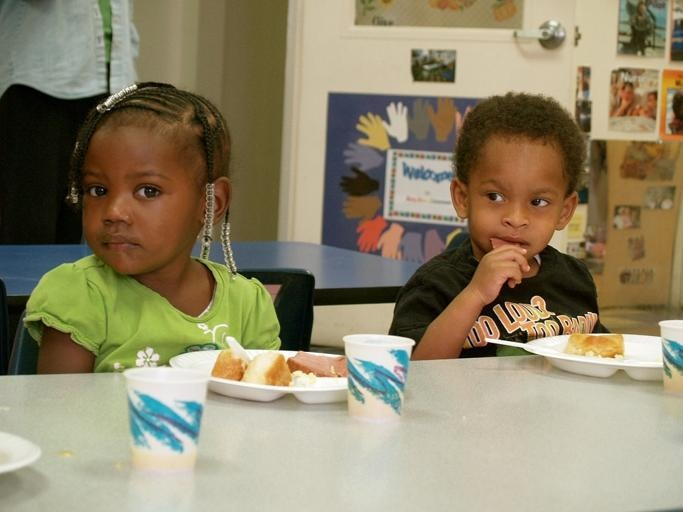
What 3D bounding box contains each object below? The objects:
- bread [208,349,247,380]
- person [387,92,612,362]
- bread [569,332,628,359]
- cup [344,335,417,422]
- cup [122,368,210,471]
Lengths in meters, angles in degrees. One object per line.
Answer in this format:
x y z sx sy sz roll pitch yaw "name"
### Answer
-0.169 0.161 0.897 0.041 0.037 0.041 27 9 -16 "bread"
0.421 -0.106 1.641 0.640 0.702 0.385 -4 10 -39 "person"
0.472 0.157 1.127 0.062 0.018 0.063 2 16 11 "bread"
0.053 0.170 0.847 0.108 0.107 0.106 1 -4 0 "cup"
-0.192 0.184 0.679 0.101 0.102 0.104 -3 -16 -1 "cup"
